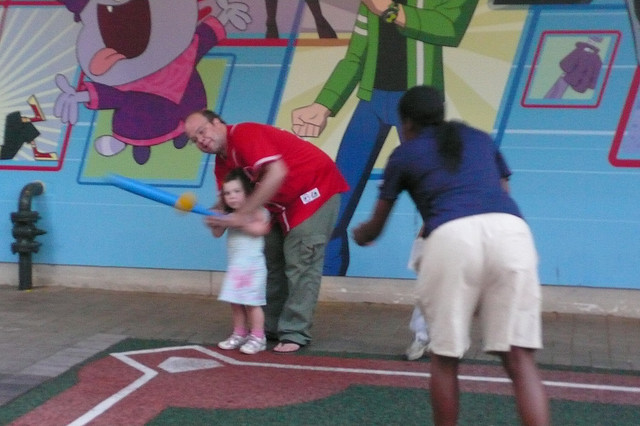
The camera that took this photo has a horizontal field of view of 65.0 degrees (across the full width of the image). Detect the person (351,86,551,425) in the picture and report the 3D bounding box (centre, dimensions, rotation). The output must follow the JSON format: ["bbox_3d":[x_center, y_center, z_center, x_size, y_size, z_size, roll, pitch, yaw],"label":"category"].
[{"bbox_3d":[0.867,0.257,3.035,1.092,2.058,0.403,4,9,23],"label":"person"}]

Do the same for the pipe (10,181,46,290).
[{"bbox_3d":[-3.913,0.295,6.661,0.274,1.412,0.405,4,9,25],"label":"pipe"}]

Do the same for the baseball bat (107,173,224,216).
[{"bbox_3d":[-1.706,-0.220,5.602,1.422,0.149,0.148,19,-47,-30],"label":"baseball bat"}]

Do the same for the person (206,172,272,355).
[{"bbox_3d":[-0.758,0.464,4.641,0.586,1.684,0.564,0,8,-5],"label":"person"}]
